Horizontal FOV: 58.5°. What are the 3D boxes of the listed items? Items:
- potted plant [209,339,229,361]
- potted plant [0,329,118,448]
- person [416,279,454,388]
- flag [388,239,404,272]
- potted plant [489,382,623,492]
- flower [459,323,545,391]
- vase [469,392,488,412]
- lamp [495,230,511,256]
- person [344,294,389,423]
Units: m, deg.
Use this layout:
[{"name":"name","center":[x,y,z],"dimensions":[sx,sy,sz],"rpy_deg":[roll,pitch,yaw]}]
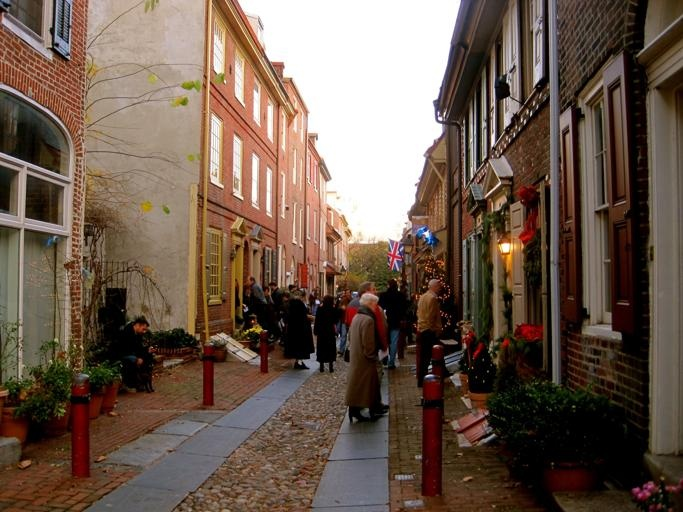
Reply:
[{"name":"potted plant","center":[-3.084,2.404,15.589],"dimensions":[0.356,0.561,0.618],"rpy_deg":[0,-1,-11]},{"name":"potted plant","center":[-4.009,1.831,8.197],"dimensions":[1.127,1.097,1.339],"rpy_deg":[4,3,25]},{"name":"person","center":[1.715,1.486,11.955],"dimensions":[0.449,2.120,1.531],"rpy_deg":[0,0,8]},{"name":"flag","center":[2.747,-0.033,30.483],"dimensions":[0.124,2.118,1.491],"rpy_deg":[-4,-11,37]},{"name":"potted plant","center":[2.174,1.889,6.245],"dimensions":[1.300,1.038,0.656],"rpy_deg":[-1,0,28]},{"name":"flower","center":[2.562,1.596,9.394],"dimensions":[0.887,0.712,1.109],"rpy_deg":[2,-1,-33]},{"name":"vase","center":[2.162,2.263,9.465],"dimensions":[0.228,0.262,0.504],"rpy_deg":[0,-1,-16]},{"name":"lamp","center":[2.831,-0.226,10.678],"dimensions":[0.265,0.472,0.307],"rpy_deg":[0,-1,-4]},{"name":"person","center":[0.348,1.576,9.589],"dimensions":[0.459,2.002,0.722],"rpy_deg":[0,0,38]}]
